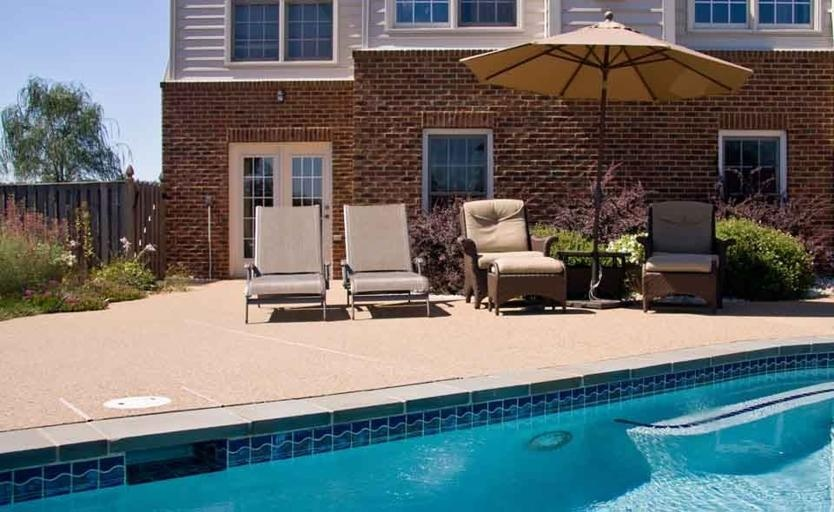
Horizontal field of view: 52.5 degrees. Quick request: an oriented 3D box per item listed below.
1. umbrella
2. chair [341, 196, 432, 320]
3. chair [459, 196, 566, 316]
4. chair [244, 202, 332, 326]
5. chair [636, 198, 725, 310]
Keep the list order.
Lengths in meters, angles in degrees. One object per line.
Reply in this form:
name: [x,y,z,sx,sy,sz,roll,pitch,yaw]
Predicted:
umbrella: [3.496,-1.820,15.959,4.276,4.649,4.683,0,-9,22]
chair: [-0.589,0.039,13.850,1.325,1.749,2.377,-1,5,-10]
chair: [1.600,-0.045,14.501,1.626,1.941,2.344,-1,3,-12]
chair: [-2.119,0.090,13.681,1.324,1.626,2.268,-2,6,-11]
chair: [4.464,-0.044,14.352,1.394,1.980,1.857,1,-2,27]
